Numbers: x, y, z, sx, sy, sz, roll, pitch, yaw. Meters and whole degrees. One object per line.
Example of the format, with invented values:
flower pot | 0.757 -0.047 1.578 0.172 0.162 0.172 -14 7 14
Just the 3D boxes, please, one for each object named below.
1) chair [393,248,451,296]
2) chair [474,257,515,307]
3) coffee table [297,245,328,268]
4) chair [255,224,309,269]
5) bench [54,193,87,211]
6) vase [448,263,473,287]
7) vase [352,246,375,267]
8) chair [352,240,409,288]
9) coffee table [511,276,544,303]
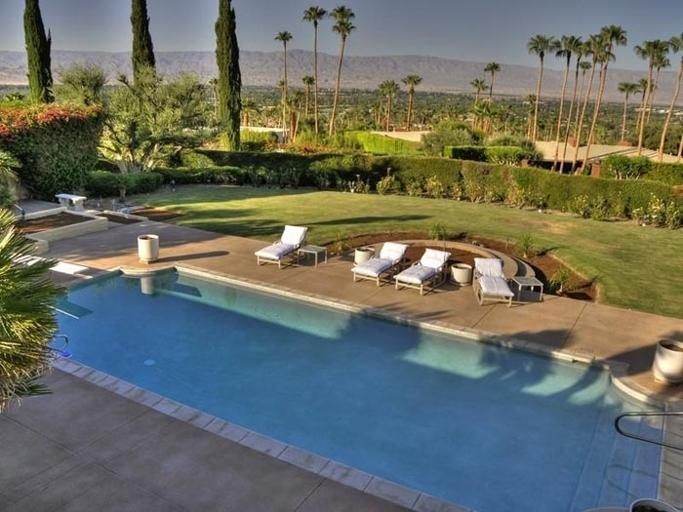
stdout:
chair | 2.284 0.374 11.900 0.899 0.736 1.733 14 25 34
chair | 3.906 0.683 11.062 0.868 0.743 1.418 0 19 4
coffee table | -0.893 -0.109 13.663 0.810 0.461 0.833 10 19 32
chair | -1.842 -0.319 13.428 0.969 0.905 1.596 14 26 31
bench | -12.371 -2.448 19.430 1.339 0.424 0.384 17 30 29
vase | 3.325 0.509 12.200 0.631 0.418 0.630 12 18 38
vase | 0.690 -0.003 13.211 0.669 0.548 0.622 -3 8 -24
chair | 1.051 0.177 12.336 1.041 0.816 1.683 11 20 37
coffee table | 4.966 0.881 11.402 0.719 0.461 0.971 -2 17 6
